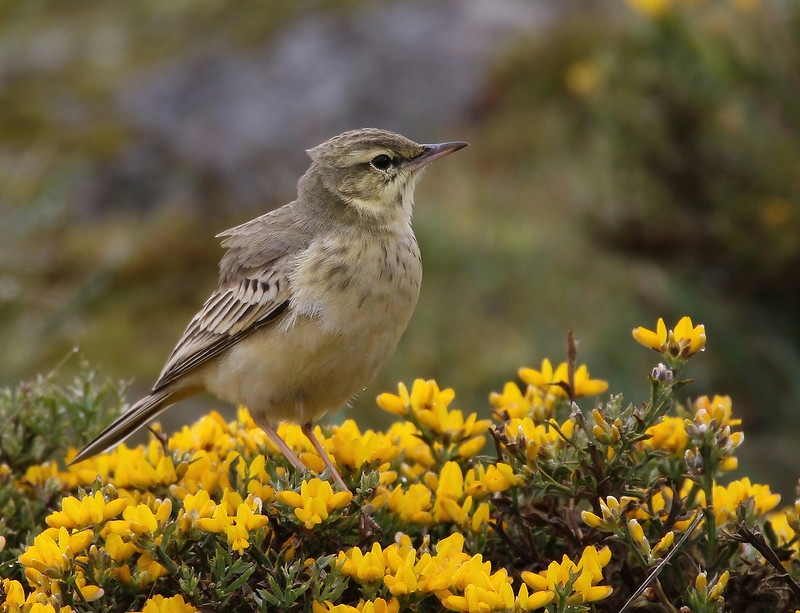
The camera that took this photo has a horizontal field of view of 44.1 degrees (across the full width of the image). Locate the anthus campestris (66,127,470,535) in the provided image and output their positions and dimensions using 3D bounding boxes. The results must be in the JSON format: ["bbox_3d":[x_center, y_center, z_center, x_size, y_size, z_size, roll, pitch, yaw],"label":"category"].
[{"bbox_3d":[-0.618,-0.125,4.952,1.200,1.445,2.046,-7,-77,-29],"label":"anthus campestris"}]
